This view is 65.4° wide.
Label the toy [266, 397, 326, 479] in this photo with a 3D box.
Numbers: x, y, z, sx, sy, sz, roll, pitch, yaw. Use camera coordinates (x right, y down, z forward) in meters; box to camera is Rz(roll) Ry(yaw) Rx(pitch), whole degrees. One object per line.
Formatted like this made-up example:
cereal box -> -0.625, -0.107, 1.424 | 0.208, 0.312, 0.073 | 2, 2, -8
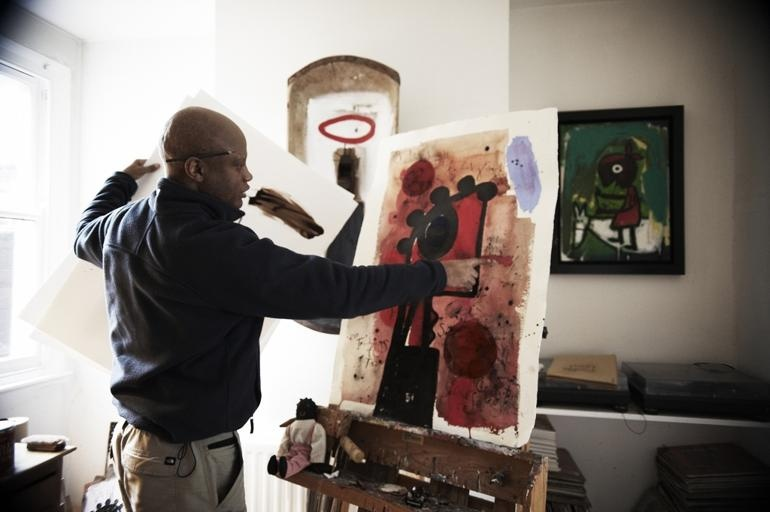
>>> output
toy -> -0.444, 0.900, 3.001 | 0.274, 0.342, 0.337 | 1, -2, 24
